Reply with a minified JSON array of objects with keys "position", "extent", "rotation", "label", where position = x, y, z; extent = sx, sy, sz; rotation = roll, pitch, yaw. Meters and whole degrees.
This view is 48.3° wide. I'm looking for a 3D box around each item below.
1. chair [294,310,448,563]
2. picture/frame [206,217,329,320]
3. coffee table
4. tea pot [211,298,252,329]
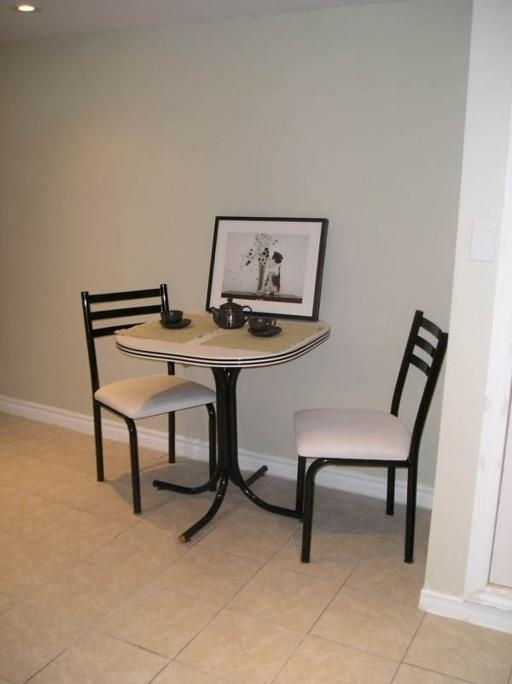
[{"position":[0.411,0.306,2.120],"extent":[0.526,0.842,0.624],"rotation":[2,10,10],"label":"chair"},{"position":[0.078,-0.320,2.479],"extent":[0.428,0.378,0.042],"rotation":[8,6,28],"label":"picture/frame"},{"position":[-0.122,0.310,2.219],"extent":[0.735,0.688,0.743],"rotation":[1,12,9],"label":"coffee table"},{"position":[-0.094,-0.118,2.239],"extent":[0.149,0.113,0.110],"rotation":[2,8,3],"label":"tea pot"}]
